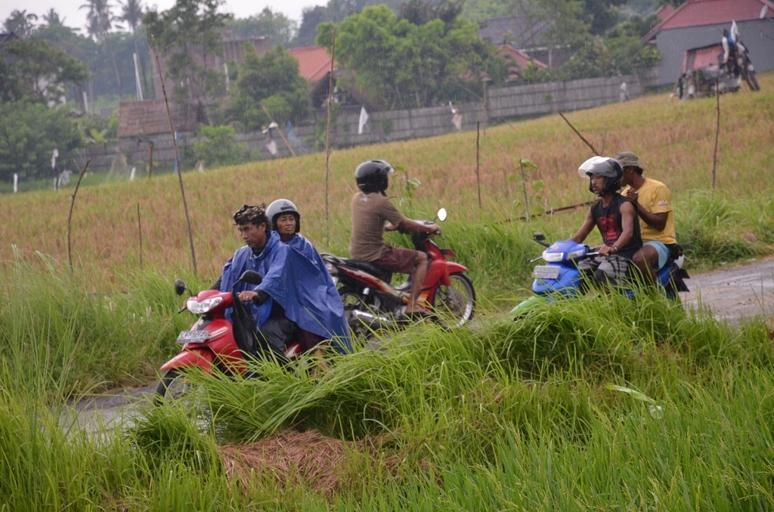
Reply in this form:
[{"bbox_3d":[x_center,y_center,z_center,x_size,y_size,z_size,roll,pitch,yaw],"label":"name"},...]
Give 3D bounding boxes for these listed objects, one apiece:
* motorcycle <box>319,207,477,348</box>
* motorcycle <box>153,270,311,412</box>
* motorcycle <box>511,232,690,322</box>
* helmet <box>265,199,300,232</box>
[{"bbox_3d":[0.221,0.276,16.040,2.594,2.193,1.335,-7,6,-18],"label":"motorcycle"},{"bbox_3d":[-2.304,1.269,14.689,1.293,2.041,3.054,-6,-3,36],"label":"motorcycle"},{"bbox_3d":[3.271,0.337,15.112,2.565,1.756,1.347,-2,-5,-25],"label":"motorcycle"},{"bbox_3d":[-1.573,-0.626,15.001,0.376,0.503,0.516,-12,-26,1],"label":"helmet"}]
